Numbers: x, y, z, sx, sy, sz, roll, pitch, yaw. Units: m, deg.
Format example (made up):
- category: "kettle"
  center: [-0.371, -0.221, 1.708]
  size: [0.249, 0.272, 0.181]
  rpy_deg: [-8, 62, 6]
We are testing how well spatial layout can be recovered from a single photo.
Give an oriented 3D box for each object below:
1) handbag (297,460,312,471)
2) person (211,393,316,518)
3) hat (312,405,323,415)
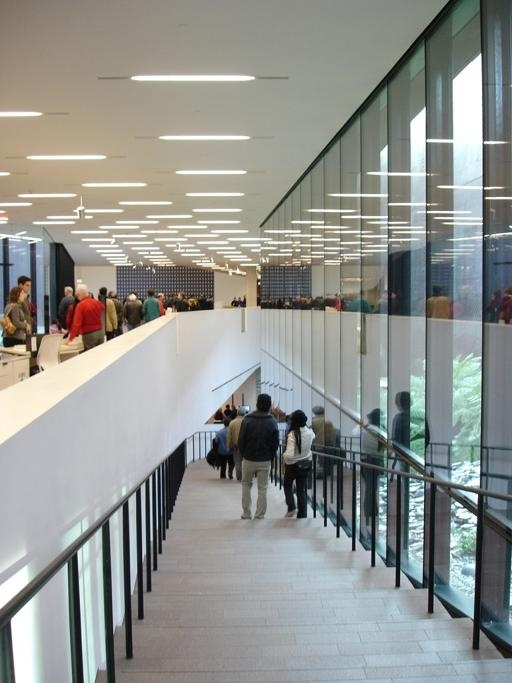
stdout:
- category: "handbag"
  center: [0.574, 1.452, 6.526]
  size: [0.101, 0.093, 0.156]
  rpy_deg: [-2, -9, -2]
- category: "person"
  center: [0.232, 1.347, 6.527]
  size: [0.860, 1.483, 0.601]
  rpy_deg: [-3, -8, 6]
- category: "hat"
  center: [1.056, 1.141, 9.276]
  size: [0.117, 0.121, 0.148]
  rpy_deg: [2, -6, -18]
